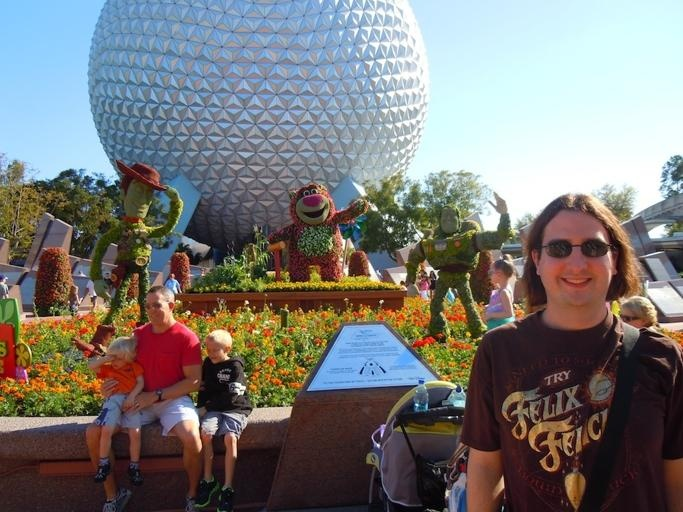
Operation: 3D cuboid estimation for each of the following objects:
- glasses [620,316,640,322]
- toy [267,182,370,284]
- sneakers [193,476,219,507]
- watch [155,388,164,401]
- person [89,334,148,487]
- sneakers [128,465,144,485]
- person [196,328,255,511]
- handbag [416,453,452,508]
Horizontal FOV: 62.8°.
[{"bbox_3d":[2.192,0.476,4.220,0.067,0.023,0.068,-4,3,-22],"label":"glasses"},{"bbox_3d":[-0.439,-0.410,9.716,1.555,1.715,0.712,-2,-3,-9],"label":"toy"},{"bbox_3d":[-0.886,1.545,3.698,0.077,0.132,0.246,-2,3,25],"label":"sneakers"},{"bbox_3d":[-1.231,0.952,3.802,0.048,0.080,0.014,-2,-3,7],"label":"watch"},{"bbox_3d":[-1.523,1.024,3.783,0.353,0.920,0.437,-1,-4,-16],"label":"person"},{"bbox_3d":[-1.328,1.415,3.617,0.060,0.086,0.178,5,-9,-33],"label":"sneakers"},{"bbox_3d":[-0.820,1.115,3.821,0.384,1.187,0.431,-2,-3,-1],"label":"person"},{"bbox_3d":[0.488,1.203,2.983,0.163,0.274,0.142,-1,-3,-10],"label":"handbag"}]
